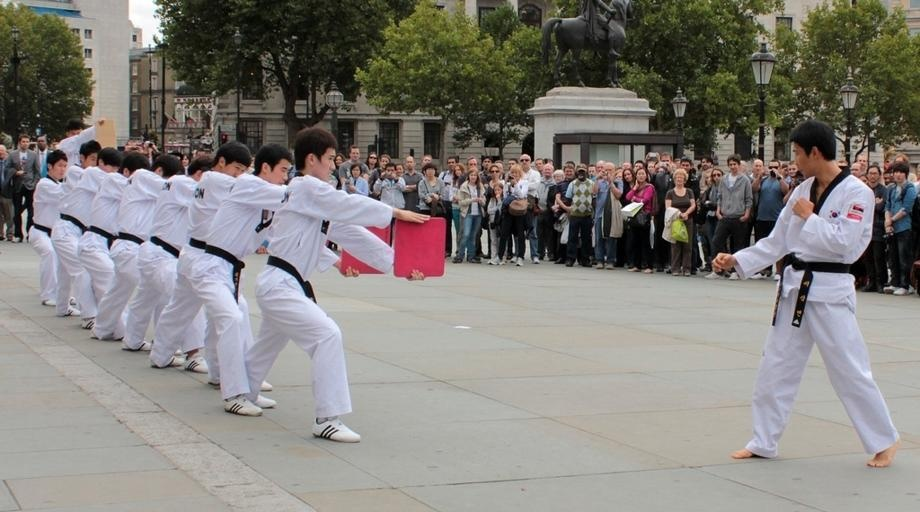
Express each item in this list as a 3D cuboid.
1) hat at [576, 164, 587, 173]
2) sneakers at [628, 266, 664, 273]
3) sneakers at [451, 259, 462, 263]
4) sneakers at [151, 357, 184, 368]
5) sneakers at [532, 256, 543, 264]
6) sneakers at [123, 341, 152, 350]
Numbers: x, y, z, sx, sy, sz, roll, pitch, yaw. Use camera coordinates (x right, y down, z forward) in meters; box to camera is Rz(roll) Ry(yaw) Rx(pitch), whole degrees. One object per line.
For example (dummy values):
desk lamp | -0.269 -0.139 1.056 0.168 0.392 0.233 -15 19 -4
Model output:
hat | 2.877 -2.079 26.564 0.248 0.143 0.313 3 -14 10
sneakers | 4.270 0.279 26.160 0.310 0.172 0.649 -6 2 -13
sneakers | -0.071 0.115 27.871 0.191 0.066 0.084 -6 13 33
sneakers | -4.399 1.613 16.807 0.502 0.152 0.165 -4 12 -27
sneakers | 1.906 0.086 27.682 0.186 0.160 0.440 -1 -6 -8
sneakers | -5.036 1.411 17.530 0.447 0.139 0.151 -3 3 -9
